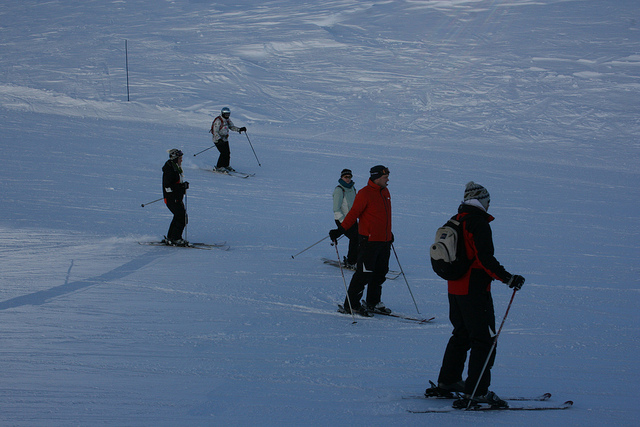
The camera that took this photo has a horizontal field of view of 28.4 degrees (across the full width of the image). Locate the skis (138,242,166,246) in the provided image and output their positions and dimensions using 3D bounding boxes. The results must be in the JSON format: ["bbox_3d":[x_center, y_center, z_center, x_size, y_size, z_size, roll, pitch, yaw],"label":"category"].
[{"bbox_3d":[-9.518,1.739,71.395,1.302,0.208,0.246,2,7,-12],"label":"skis"}]

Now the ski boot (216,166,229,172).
[{"bbox_3d":[-6.083,-2.715,77.784,0.732,0.279,0.166,3,8,-5],"label":"ski boot"}]

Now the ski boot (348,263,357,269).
[{"bbox_3d":[1.704,2.942,70.912,0.769,0.301,0.386,2,5,12],"label":"ski boot"}]
